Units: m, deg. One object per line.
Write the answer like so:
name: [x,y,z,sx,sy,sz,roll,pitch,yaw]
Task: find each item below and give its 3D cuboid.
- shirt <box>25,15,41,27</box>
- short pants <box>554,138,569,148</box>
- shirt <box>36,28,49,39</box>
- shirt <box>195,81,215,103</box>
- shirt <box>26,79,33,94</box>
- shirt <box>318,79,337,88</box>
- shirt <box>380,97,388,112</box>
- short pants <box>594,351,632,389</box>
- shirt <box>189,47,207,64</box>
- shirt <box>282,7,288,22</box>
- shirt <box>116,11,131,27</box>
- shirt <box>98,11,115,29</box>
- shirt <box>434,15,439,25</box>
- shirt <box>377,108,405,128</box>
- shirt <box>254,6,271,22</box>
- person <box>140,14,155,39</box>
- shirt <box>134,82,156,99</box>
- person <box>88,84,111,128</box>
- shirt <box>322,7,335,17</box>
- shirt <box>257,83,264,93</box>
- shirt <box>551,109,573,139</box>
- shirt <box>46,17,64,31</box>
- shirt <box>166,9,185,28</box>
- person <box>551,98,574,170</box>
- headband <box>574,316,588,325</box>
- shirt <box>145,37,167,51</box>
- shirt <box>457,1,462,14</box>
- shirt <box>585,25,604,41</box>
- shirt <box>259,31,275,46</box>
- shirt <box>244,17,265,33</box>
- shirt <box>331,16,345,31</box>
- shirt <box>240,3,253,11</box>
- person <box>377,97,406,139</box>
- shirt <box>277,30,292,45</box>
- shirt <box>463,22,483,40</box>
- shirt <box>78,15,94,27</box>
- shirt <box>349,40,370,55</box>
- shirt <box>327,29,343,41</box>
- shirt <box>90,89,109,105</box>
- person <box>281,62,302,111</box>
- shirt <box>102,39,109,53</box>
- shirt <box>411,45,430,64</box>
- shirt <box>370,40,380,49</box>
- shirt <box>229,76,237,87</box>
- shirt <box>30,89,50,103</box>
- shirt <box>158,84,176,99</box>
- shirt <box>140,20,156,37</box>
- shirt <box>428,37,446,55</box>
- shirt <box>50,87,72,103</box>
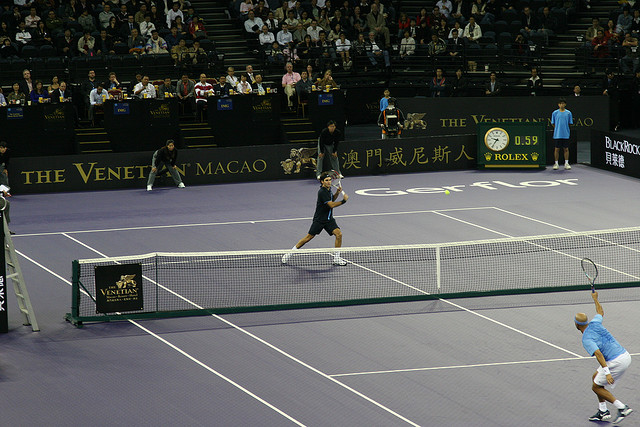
shirt: [-13.151,-8.752,32.637,0.626,0.574,0.793,-8,12,-21]
short pants: [9.312,-2.714,27.668,0.558,0.515,0.310,-1,4,-14]
shirt: [-12.341,-8.004,31.975,0.462,0.425,0.585,4,13,35]
shirt: [-4.981,-5.059,30.091,0.940,1.119,0.746,-3,7,-16]
shirt: [-11.766,-5.104,28.862,0.080,0.345,0.250,-15,-5,27]
shirt: [0.254,-5.664,31.209,0.700,0.348,0.924,-1,3,-3]
shirt: [2.761,-4.741,31.055,0.363,0.496,0.179,3,4,41]
short pants: [4.883,2.541,11.829,0.788,0.588,0.366,-10,13,-30]
shirt: [-5.441,-6.989,31.682,0.730,0.725,0.653,-6,11,-11]
shirt: [-1.762,-9.741,35.138,0.220,0.578,0.327,-5,11,-6]
shirt: [-9.171,-8.934,32.929,0.505,0.220,0.682,3,50,-4]
shirt: [-9.819,-8.877,32.790,0.678,0.707,0.526,-6,11,-13]
shirt: [5.794,-9.684,35.823,0.190,0.497,0.615,-2,11,10]
shirt: [2.949,-3.959,30.110,0.702,0.984,0.923,0,16,7]
shirt: [-2.863,-9.684,34.878,0.880,0.958,0.530,0,-3,-2]
person: [-7.970,-8.591,32.875,0.652,1.174,1.618,-6,11,-13]
shirt: [-7.015,-4.942,28.812,0.955,0.944,0.540,-1,1,-17]
person: [-9.042,-4.377,29.079,1.020,1.682,0.592,-4,11,0]
shirt: [0.405,-10.333,36.464,0.600,0.556,0.542,-2,2,-8]
shirt: [-2.513,-5.223,29.877,0.251,0.251,0.829,5,26,-25]
shirt: [9.284,-3.427,27.461,0.669,1.096,0.439,-3,11,7]
shirt: [-12.108,-8.601,32.549,0.660,0.661,0.252,-1,12,-9]
shirt: [-7.025,-9.316,33.990,1.066,1.183,0.651,-1,4,-13]
person: [9.423,-3.064,27.867,0.713,2.742,1.164,0,11,18]
headband: [4.281,1.750,11.711,0.198,0.094,0.135,-3,11,3]
shirt: [-7.373,-7.533,31.924,0.749,0.273,0.705,-1,-25,-15]
shirt: [7.176,-10.607,36.949,0.227,0.640,0.409,-1,11,17]
shirt: [13.340,-8.784,34.776,0.715,0.665,1.563,6,14,41]
shirt: [-2.530,-8.275,33.910,0.711,0.530,0.534,-6,11,-11]
shirt: [-3.162,-9.086,34.546,0.798,0.649,0.436,-14,17,-6]
shirt: [0.863,-9.422,35.214,0.799,0.751,0.238,3,0,-12]
shirt: [-3.674,-10.156,35.512,0.637,0.588,0.345,0,-1,-17]
person: [2.985,-3.935,29.668,0.855,1.650,0.850,-13,14,-39]
shirt: [-1.716,-8.383,34.027,0.700,0.649,0.654,-4,11,-2]
shirt: [7.451,-8.800,35.197,1.054,1.005,0.717,2,1,11]
shirt: [-10.747,-8.798,32.664,0.682,0.462,0.226,1,12,24]
shirt: [1.867,-7.967,34.648,1.044,0.950,0.532,-1,-6,-14]
shirt: [0.677,-8.803,34.641,0.822,0.607,0.448,-1,3,-21]
shirt: [-8.966,-4.690,29.069,0.910,0.705,0.528,-1,3,-10]
person: [-1.280,-5.641,31.802,0.847,2.095,0.858,-4,11,-2]
shirt: [-9.550,-7.391,31.669,0.235,0.565,0.440,-9,12,-22]
shirt: [4.968,-7.791,34.814,0.853,0.862,0.211,-2,-32,9]
shirt: [2.633,-8.162,34.778,0.334,0.401,0.255,-13,14,-39]
shirt: [-3.688,-5.549,30.034,0.297,0.419,0.628,-4,11,0]
shirt: [-11.215,-4.588,28.283,0.498,0.325,0.580,-13,-6,-27]
shirt: [-6.306,-4.975,29.236,0.859,0.657,0.450,-5,2,-40]
shirt: [-7.980,-8.495,32.809,0.655,0.636,0.552,-6,11,-10]
shirt: [5.629,-8.065,34.805,1.023,0.894,0.613,1,-1,19]
shirt: [-10.354,-4.733,28.463,0.759,0.551,1.058,-8,12,-19]
